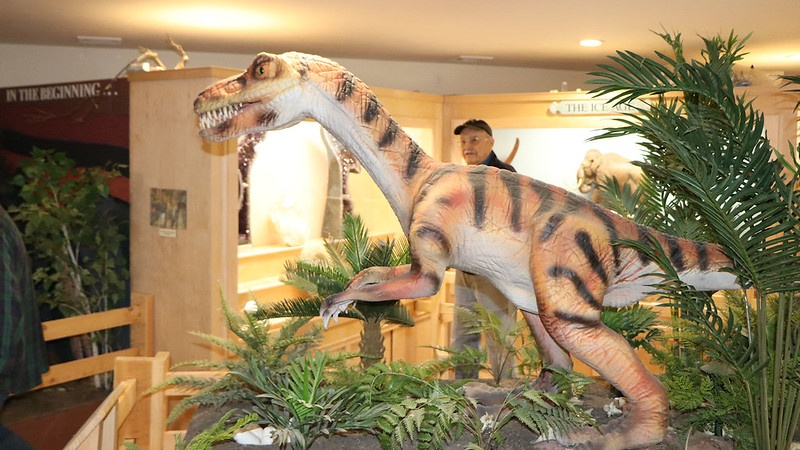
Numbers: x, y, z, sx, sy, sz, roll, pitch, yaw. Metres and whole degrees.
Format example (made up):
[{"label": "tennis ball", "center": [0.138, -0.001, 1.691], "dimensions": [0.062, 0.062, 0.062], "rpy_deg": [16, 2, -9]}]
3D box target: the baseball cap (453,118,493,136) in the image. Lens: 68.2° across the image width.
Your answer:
[{"label": "baseball cap", "center": [0.716, -0.985, 5.673], "dimensions": [0.310, 0.104, 0.211], "rpy_deg": [8, -5, -12]}]
